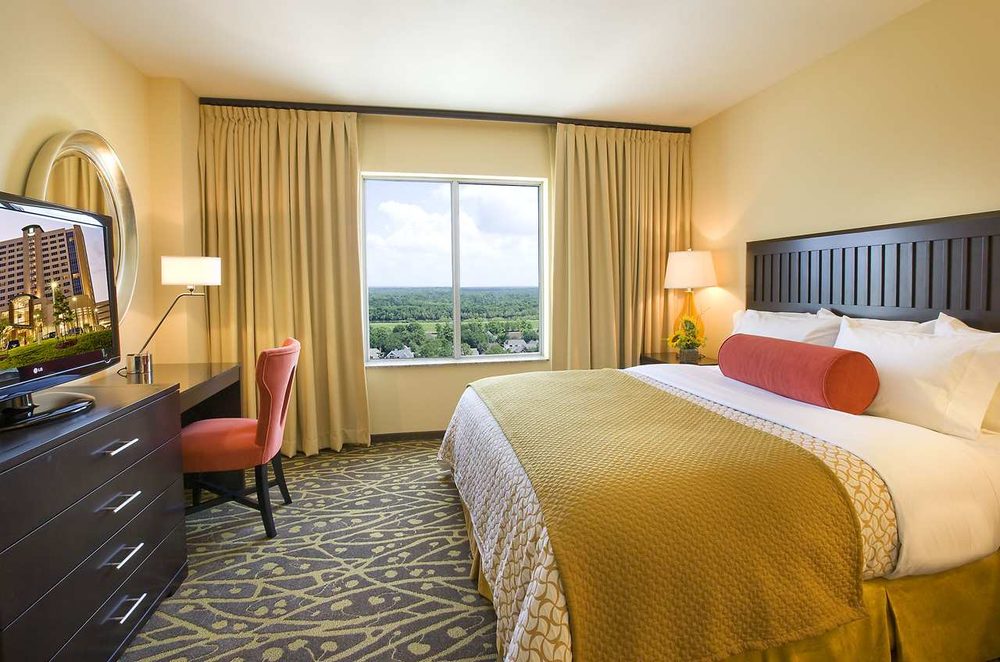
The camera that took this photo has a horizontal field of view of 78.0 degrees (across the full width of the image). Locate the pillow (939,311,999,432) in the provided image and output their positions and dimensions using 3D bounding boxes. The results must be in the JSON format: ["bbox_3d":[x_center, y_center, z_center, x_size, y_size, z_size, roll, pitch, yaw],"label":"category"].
[{"bbox_3d":[2.683,0.240,3.489,0.161,0.527,0.457,0,3,11],"label":"pillow"}]

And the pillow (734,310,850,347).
[{"bbox_3d":[2.047,-0.041,4.336,0.246,0.259,0.613,-27,15,-25],"label":"pillow"}]

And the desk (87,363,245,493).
[{"bbox_3d":[-2.220,0.750,4.231,0.729,0.894,1.405,0,5,-6],"label":"desk"}]

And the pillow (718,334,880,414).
[{"bbox_3d":[1.779,0.247,3.677,0.379,0.392,0.863,-12,15,-25],"label":"pillow"}]

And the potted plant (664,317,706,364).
[{"bbox_3d":[1.619,0.108,5.398,0.298,0.315,0.282,-1,-4,9],"label":"potted plant"}]

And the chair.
[{"bbox_3d":[-1.792,0.692,4.144,0.824,1.176,0.850,1,4,-9],"label":"chair"}]
